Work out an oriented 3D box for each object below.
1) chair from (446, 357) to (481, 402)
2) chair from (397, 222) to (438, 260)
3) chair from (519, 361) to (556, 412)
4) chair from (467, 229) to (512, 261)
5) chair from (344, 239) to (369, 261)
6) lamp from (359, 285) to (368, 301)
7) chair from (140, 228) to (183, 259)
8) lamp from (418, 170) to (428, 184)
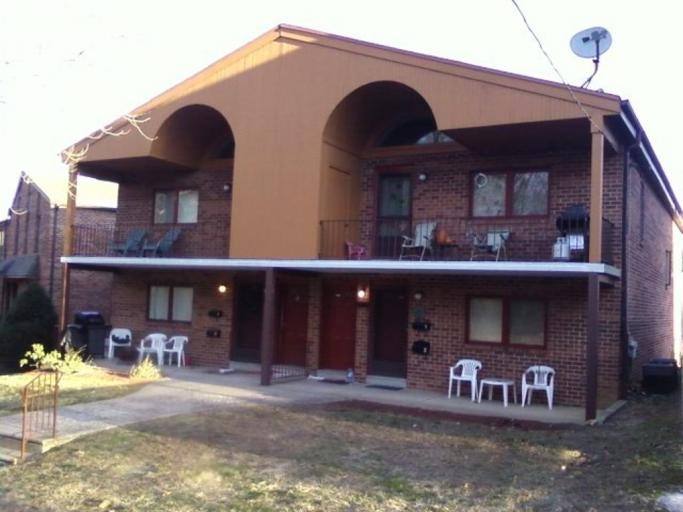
[{"bbox_3d":[3.064,3.049,15.332,0.857,1.309,0.831,-2,-8,32],"label":"chair"},{"bbox_3d":[1.876,-0.387,16.111,0.800,1.424,0.988,1,-3,35],"label":"chair"},{"bbox_3d":[4.594,3.162,14.511,0.720,0.996,0.774,-12,9,-1],"label":"chair"},{"bbox_3d":[3.601,-0.303,15.227,0.838,0.941,0.742,1,1,40],"label":"chair"},{"bbox_3d":[0.388,-0.170,16.822,0.552,0.617,0.972,0,-9,14],"label":"chair"},{"bbox_3d":[0.596,1.046,17.157,0.332,0.416,0.133,-1,-8,24],"label":"lamp"},{"bbox_3d":[-5.568,-0.385,19.331,0.845,1.313,1.058,9,-2,-44],"label":"chair"},{"bbox_3d":[2.167,-2.113,16.619,0.259,0.312,0.195,0,-8,17],"label":"lamp"}]
